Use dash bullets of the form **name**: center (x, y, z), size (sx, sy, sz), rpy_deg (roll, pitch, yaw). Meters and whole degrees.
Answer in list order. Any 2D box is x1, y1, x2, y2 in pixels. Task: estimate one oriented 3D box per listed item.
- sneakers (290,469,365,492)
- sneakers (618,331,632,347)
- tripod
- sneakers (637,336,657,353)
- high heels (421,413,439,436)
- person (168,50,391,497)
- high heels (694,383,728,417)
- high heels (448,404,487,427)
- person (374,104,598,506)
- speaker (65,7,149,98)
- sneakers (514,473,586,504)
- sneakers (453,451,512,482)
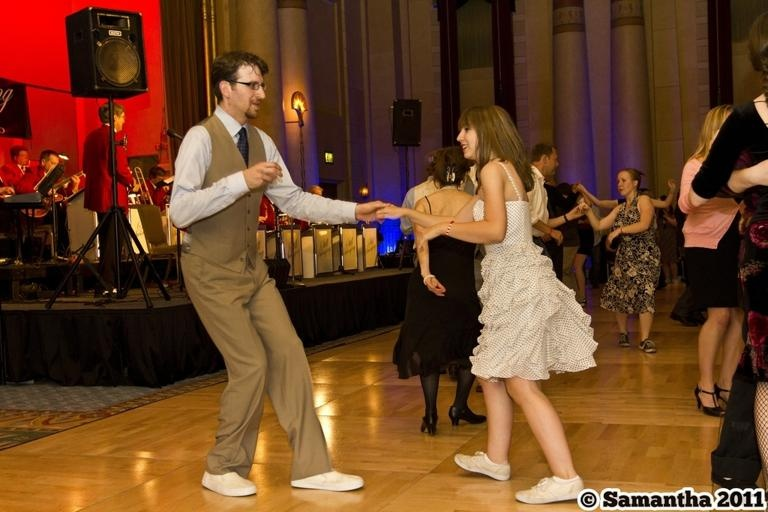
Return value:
- **sneakers**: center (-0.299, 1.214, 3.605), size (0.293, 0.097, 0.160), rpy_deg (-2, -6, 8)
- **sneakers**: center (2.525, 0.865, 6.876), size (0.092, 0.105, 0.250), rpy_deg (-2, -8, 10)
- **tripod**: center (-2.869, -0.579, 6.876), size (0.974, 2.029, 2.894), rpy_deg (-4, 5, -24)
- **sneakers**: center (2.621, 0.882, 6.509), size (0.083, 0.099, 0.206), rpy_deg (-2, -6, -1)
- **high heels**: center (0.310, 1.119, 4.360), size (0.067, 0.081, 0.179), rpy_deg (1, -1, -3)
- **person**: center (-0.680, 0.085, 3.626), size (0.902, 2.399, 0.489), rpy_deg (-3, 5, -12)
- **high heels**: center (2.272, 1.003, 4.592), size (0.104, 0.167, 0.322), rpy_deg (-3, -5, -8)
- **high heels**: center (0.572, 1.100, 4.632), size (0.322, 0.173, 0.112), rpy_deg (-4, 3, -23)
- **person**: center (0.670, 0.216, 3.563), size (0.914, 2.052, 0.514), rpy_deg (0, 5, 20)
- **speaker**: center (-2.592, -1.847, 6.099), size (0.690, 0.827, 0.407), rpy_deg (-3, 5, -14)
- **sneakers**: center (0.859, 1.183, 3.410), size (0.369, 0.158, 0.139), rpy_deg (-4, -11, 9)
- **sneakers**: center (0.565, 1.162, 3.737), size (0.343, 0.148, 0.129), rpy_deg (11, 0, 25)
